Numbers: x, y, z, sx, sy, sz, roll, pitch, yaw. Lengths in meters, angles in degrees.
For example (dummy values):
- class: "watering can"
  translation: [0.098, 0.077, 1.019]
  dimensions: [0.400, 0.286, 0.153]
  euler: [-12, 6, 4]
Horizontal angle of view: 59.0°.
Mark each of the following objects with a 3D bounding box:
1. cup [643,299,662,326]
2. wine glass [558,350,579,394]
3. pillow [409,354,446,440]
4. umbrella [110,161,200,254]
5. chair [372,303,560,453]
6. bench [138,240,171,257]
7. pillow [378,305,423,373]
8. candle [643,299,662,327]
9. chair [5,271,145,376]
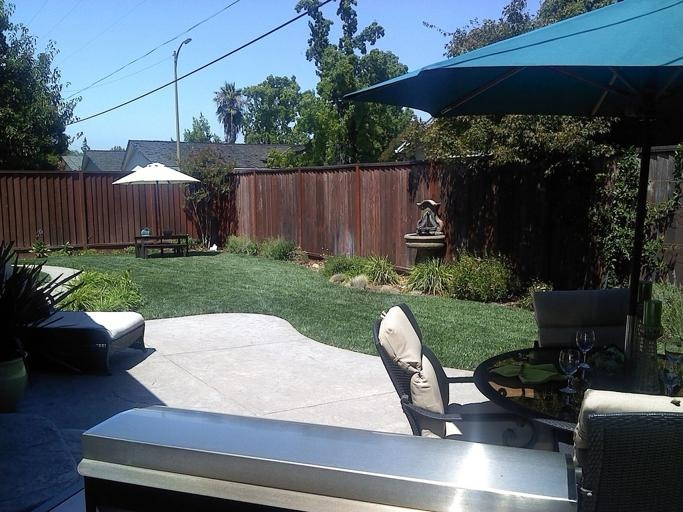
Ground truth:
- class: "cup"
  translation: [1.795, 0.319, 3.477]
  dimensions: [0.089, 0.151, 0.178]
  euler: [3, 7, 27]
- class: "wine glass"
  translation: [1.351, 0.658, 3.572]
  dimensions: [0.103, 0.259, 0.379]
  euler: [2, 7, 22]
- class: "pillow"
  translation: [0.481, 0.804, 3.416]
  dimensions: [0.119, 0.390, 0.385]
  euler: [-5, 25, 2]
- class: "umbrella"
  translation: [-5.066, -1.376, 17.002]
  dimensions: [2.488, 2.400, 3.627]
  euler: [-3, 7, -22]
- class: "chair"
  translation: [0.776, 0.765, 3.802]
  dimensions: [0.970, 1.204, 0.861]
  euler: [-3, 11, 13]
- class: "bench"
  translation: [-5.061, -0.243, 15.748]
  dimensions: [0.609, 0.365, 0.636]
  euler: [-2, 5, -32]
- class: "pillow"
  translation: [0.321, 0.501, 3.543]
  dimensions: [0.107, 0.339, 0.247]
  euler: [-36, -38, 30]
- class: "candle"
  translation: [1.759, 0.316, 3.438]
  dimensions: [0.113, 0.206, 0.135]
  euler: [-3, -1, 20]
- class: "chair"
  translation: [-2.591, 0.702, 5.945]
  dimensions: [0.808, 0.612, 0.903]
  euler: [2, 12, 4]
